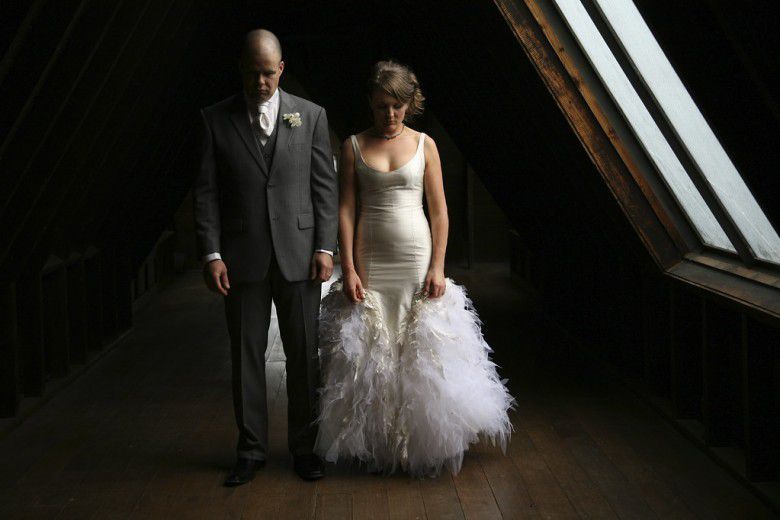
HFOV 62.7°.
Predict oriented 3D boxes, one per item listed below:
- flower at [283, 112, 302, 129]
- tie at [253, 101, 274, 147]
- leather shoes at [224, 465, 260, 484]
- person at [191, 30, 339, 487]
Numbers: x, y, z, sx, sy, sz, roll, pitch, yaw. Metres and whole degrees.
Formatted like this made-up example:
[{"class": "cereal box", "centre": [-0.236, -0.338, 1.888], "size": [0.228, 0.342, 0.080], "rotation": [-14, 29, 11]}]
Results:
[{"class": "flower", "centre": [-0.511, -0.730, 3.350], "size": [0.099, 0.079, 0.042], "rotation": [-2, 7, -11]}, {"class": "tie", "centre": [-0.645, -0.710, 3.314], "size": [0.093, 0.226, 0.038], "rotation": [-2, 7, -15]}, {"class": "leather shoes", "centre": [-0.801, 1.147, 3.428], "size": [0.074, 0.086, 0.185], "rotation": [-2, -6, 18]}, {"class": "person", "centre": [-0.641, 0.145, 3.401], "size": [0.729, 2.073, 0.229], "rotation": [-1, 7, -5]}]
